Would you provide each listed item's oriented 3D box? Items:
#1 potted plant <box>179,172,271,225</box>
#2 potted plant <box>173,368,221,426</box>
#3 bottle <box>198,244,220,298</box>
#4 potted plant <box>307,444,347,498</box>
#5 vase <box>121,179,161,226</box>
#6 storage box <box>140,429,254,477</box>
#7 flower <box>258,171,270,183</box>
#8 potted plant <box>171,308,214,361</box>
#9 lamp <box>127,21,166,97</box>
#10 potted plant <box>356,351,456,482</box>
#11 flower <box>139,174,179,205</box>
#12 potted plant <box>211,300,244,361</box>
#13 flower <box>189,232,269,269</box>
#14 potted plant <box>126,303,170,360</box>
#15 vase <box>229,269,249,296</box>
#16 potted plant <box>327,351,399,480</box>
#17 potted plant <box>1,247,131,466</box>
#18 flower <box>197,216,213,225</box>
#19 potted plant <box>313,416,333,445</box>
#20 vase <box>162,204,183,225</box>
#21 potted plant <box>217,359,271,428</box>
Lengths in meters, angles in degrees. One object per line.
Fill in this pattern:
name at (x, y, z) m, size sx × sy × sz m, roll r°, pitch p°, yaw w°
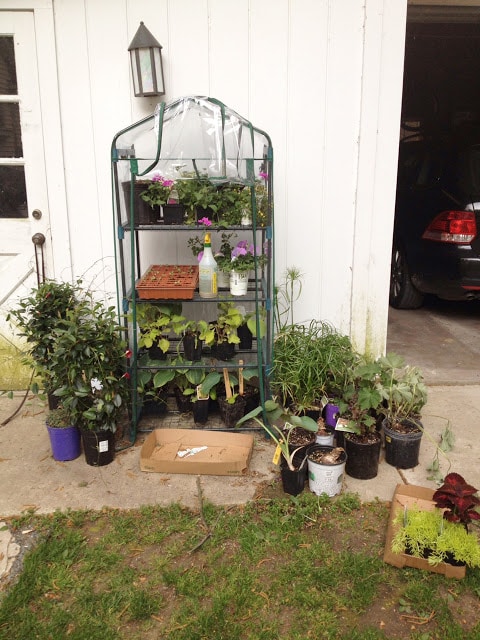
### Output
potted plant at (-0.085, -0.579, 2.499) m, size 0.448 × 0.236 × 0.175 m, roll -2°, pitch 14°, yaw -6°
potted plant at (-0.227, 0.367, 2.811) m, size 0.275 × 0.331 × 0.333 m, roll 1°, pitch 10°, yaw -5°
bottle at (-0.161, -0.250, 2.525) m, size 0.096 × 0.270 × 0.178 m, roll -1°, pitch 14°, yaw -4°
potted plant at (0.334, 0.617, 2.141) m, size 0.183 × 0.182 × 0.182 m, roll 0°, pitch 8°, yaw -2°
vase at (-0.479, -0.561, 2.458) m, size 0.207 × 0.228 × 0.206 m, roll -1°, pitch 9°, yaw -1°
storage box at (-0.211, 0.628, 2.418) m, size 0.327 × 0.079 × 0.247 m, roll 2°, pitch 14°, yaw 7°
flower at (0.117, -0.707, 2.522) m, size 0.053 × 0.053 × 0.051 m, roll -1°, pitch 11°, yaw -1°
potted plant at (-0.266, 0.058, 2.838) m, size 0.210 × 0.266 × 0.562 m, roll -1°, pitch 14°, yaw -4°
lamp at (-0.504, -1.377, 2.688) m, size 0.154 × 0.347 × 0.142 m, roll 9°, pitch 17°, yaw 32°
potted plant at (0.732, 0.460, 2.473) m, size 0.450 × 0.648 × 0.557 m, roll -1°, pitch -7°, yaw 0°
flower at (-0.384, -0.622, 2.450) m, size 0.110 × 0.151 × 0.160 m, roll 10°, pitch 18°, yaw 36°
potted plant at (-0.069, 0.058, 2.747) m, size 0.174 × 0.279 × 0.333 m, roll -1°, pitch 14°, yaw -1°
flower at (-0.065, -0.330, 2.664) m, size 0.361 × 0.235 × 0.152 m, roll -17°, pitch -11°, yaw 14°
potted plant at (-0.449, 0.041, 2.677) m, size 0.296 × 0.287 × 0.257 m, roll -4°, pitch 7°, yaw -7°
vase at (-0.003, -0.183, 2.565) m, size 0.112 × 0.122 × 0.115 m, roll 1°, pitch 12°, yaw 1°
potted plant at (0.593, 0.406, 2.495) m, size 0.314 × 0.476 × 0.678 m, roll 2°, pitch 15°, yaw 10°
potted plant at (-0.628, 0.181, 2.749) m, size 0.825 × 1.060 × 0.820 m, roll 0°, pitch 7°, yaw -2°
flower at (-0.172, -0.483, 2.469) m, size 0.049 × 0.023 × 0.049 m, roll 1°, pitch 25°, yaw -5°
potted plant at (0.390, 0.519, 2.382) m, size 0.097 × 0.075 × 0.103 m, roll 0°, pitch 8°, yaw 2°
vase at (-0.328, -0.512, 2.478) m, size 0.096 × 0.092 × 0.095 m, roll 0°, pitch 19°, yaw -4°
potted plant at (-0.017, 0.403, 2.697) m, size 0.290 × 0.419 × 0.420 m, roll 1°, pitch 14°, yaw -4°
